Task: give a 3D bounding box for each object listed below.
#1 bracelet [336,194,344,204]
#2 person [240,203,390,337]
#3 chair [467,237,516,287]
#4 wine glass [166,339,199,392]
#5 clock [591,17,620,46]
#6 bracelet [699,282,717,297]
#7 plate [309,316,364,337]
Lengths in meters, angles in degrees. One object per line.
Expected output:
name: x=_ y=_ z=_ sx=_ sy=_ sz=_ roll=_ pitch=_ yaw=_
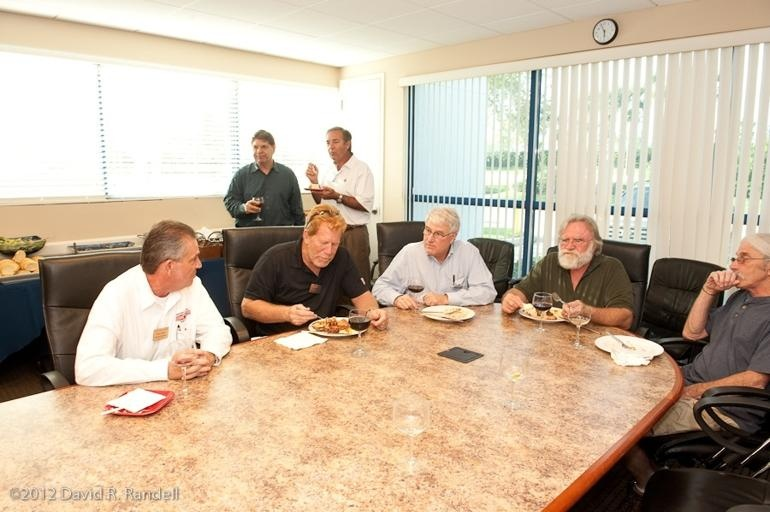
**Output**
bracelet: x=-0.480 y=-0.612 z=5.651 sx=0.056 sy=0.116 sz=0.191 roll=0 pitch=12 yaw=-5
person: x=-0.531 y=0.108 z=3.868 sx=0.719 sy=1.252 sz=0.773 roll=29 pitch=27 yaw=36
chair: x=1.065 y=0.041 z=5.072 sx=0.401 sy=0.573 sz=0.466 roll=2 pitch=-1 yaw=35
wine glass: x=-1.050 y=0.556 z=2.723 sx=0.185 sy=0.250 sz=0.088 roll=0 pitch=-6 yaw=-8
clock: x=2.141 y=-2.176 z=5.126 sx=0.072 sy=0.311 sz=0.288 roll=4 pitch=3 yaw=-40
bracelet: x=2.142 y=0.219 z=3.492 sx=0.073 sy=0.055 sz=0.073 roll=12 pitch=18 yaw=21
plate: x=-0.312 y=0.438 z=3.213 sx=0.179 sy=0.026 sz=0.180 roll=4 pitch=11 yaw=10
